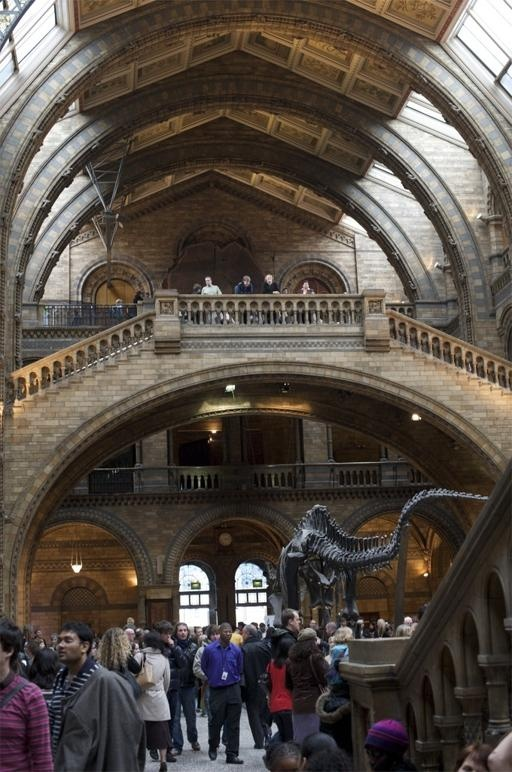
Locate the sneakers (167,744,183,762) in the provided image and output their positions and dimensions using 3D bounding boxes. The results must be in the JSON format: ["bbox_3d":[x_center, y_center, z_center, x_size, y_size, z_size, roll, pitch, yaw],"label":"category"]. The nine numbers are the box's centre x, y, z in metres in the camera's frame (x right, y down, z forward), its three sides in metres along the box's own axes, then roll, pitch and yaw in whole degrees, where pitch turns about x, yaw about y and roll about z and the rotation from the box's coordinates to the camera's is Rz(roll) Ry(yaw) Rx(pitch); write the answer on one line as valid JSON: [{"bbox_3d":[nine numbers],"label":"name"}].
[{"bbox_3d":[-0.846,3.821,12.296,0.131,0.118,0.317,2,-22,-4],"label":"sneakers"}]

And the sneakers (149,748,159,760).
[{"bbox_3d":[-1.063,3.834,12.389,0.094,0.102,0.250,6,-31,-6],"label":"sneakers"}]

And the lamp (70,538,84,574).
[{"bbox_3d":[-4.435,4.201,29.347,0.319,0.921,0.366,1,-23,-10],"label":"lamp"}]

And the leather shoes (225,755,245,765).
[{"bbox_3d":[-0.209,3.706,11.791,0.238,0.078,0.074,-1,-5,6],"label":"leather shoes"}]

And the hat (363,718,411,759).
[{"bbox_3d":[0.741,1.945,6.617,0.224,0.158,0.197,11,-19,24],"label":"hat"}]

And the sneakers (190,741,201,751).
[{"bbox_3d":[-0.665,4.004,13.249,0.067,0.065,0.167,1,1,-6],"label":"sneakers"}]

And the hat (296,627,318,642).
[{"bbox_3d":[0.428,1.993,9.568,0.118,0.072,0.169,-3,-4,42],"label":"hat"}]

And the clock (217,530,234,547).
[{"bbox_3d":[-0.769,3.891,30.206,0.388,0.355,0.303,1,-22,-10],"label":"clock"}]
